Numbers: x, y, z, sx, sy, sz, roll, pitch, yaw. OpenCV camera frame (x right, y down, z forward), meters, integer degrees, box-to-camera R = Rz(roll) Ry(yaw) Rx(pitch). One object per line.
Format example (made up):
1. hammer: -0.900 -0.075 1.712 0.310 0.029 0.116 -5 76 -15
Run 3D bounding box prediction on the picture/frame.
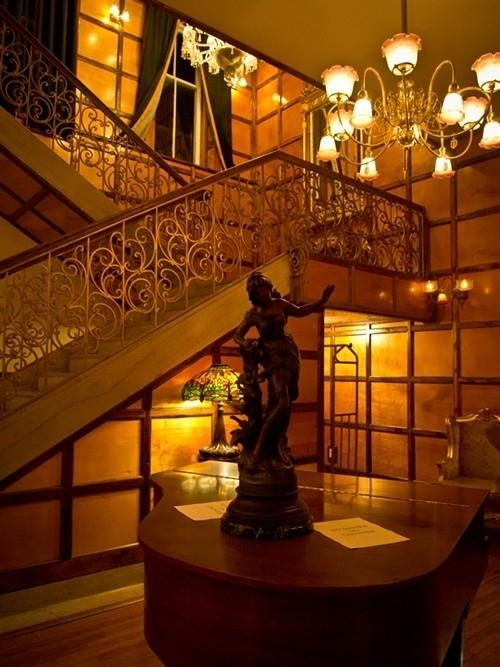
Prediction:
1. picture/frame: 1.047 -2.375 7.241 0.773 1.753 0.236 2 13 45
